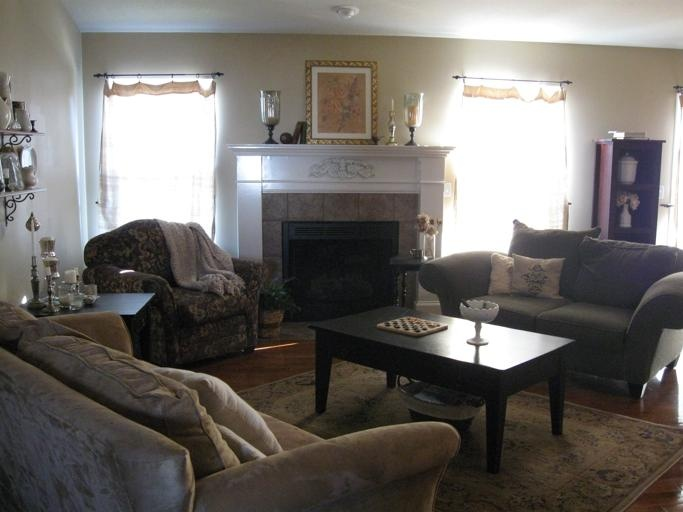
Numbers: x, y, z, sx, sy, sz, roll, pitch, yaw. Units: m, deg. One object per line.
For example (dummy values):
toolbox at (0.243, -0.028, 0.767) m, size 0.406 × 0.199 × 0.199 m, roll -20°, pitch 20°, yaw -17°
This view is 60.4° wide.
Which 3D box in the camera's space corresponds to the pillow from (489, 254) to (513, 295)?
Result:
pillow at (1.272, 0.148, 4.656) m, size 0.266 × 0.263 × 0.082 m, roll -3°, pitch -18°, yaw 33°

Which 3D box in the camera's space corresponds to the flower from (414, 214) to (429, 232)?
flower at (0.680, -0.277, 4.970) m, size 0.134 × 0.139 × 0.138 m, roll -1°, pitch 5°, yaw -22°

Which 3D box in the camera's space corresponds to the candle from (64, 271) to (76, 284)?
candle at (-1.632, 0.126, 3.524) m, size 0.071 × 0.077 × 0.071 m, roll 3°, pitch 11°, yaw 2°

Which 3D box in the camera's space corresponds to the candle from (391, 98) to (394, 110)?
candle at (0.497, -1.446, 5.642) m, size 0.022 × 0.100 × 0.023 m, roll -3°, pitch 13°, yaw -12°

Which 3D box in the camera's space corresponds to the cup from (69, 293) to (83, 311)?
cup at (-1.515, 0.263, 3.344) m, size 0.078 × 0.087 × 0.077 m, roll 3°, pitch 6°, yaw 0°

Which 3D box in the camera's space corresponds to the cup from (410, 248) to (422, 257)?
cup at (0.635, -0.021, 5.002) m, size 0.079 × 0.052 × 0.059 m, roll 0°, pitch 7°, yaw 8°

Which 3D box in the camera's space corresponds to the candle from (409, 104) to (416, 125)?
candle at (0.656, -1.279, 5.356) m, size 0.086 × 0.170 × 0.031 m, roll 1°, pitch 13°, yaw 7°

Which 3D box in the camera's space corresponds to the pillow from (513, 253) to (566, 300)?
pillow at (1.540, 0.174, 4.530) m, size 0.315 × 0.275 × 0.120 m, roll 5°, pitch -22°, yaw 16°

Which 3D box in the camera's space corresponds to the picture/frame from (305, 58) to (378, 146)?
picture/frame at (-0.027, -1.478, 5.556) m, size 0.903 × 0.931 × 0.040 m, roll -1°, pitch 7°, yaw -2°

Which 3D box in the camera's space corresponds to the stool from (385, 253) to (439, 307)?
stool at (0.564, 0.214, 5.061) m, size 0.381 × 0.472 × 0.461 m, roll -1°, pitch 4°, yaw -2°

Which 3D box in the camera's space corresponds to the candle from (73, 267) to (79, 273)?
candle at (-1.855, 0.097, 4.085) m, size 0.047 × 0.046 × 0.026 m, roll 1°, pitch -8°, yaw -15°

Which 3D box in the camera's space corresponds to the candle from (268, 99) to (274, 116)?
candle at (-0.626, -1.309, 5.232) m, size 0.067 × 0.121 × 0.016 m, roll -6°, pitch 14°, yaw -23°

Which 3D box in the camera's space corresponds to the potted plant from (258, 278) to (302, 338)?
potted plant at (-0.631, 0.442, 5.196) m, size 0.450 × 0.499 × 0.441 m, roll -2°, pitch 5°, yaw -21°

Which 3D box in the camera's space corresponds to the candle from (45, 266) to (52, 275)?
candle at (-1.677, 0.085, 3.348) m, size 0.037 × 0.052 × 0.037 m, roll 1°, pitch -3°, yaw -26°
